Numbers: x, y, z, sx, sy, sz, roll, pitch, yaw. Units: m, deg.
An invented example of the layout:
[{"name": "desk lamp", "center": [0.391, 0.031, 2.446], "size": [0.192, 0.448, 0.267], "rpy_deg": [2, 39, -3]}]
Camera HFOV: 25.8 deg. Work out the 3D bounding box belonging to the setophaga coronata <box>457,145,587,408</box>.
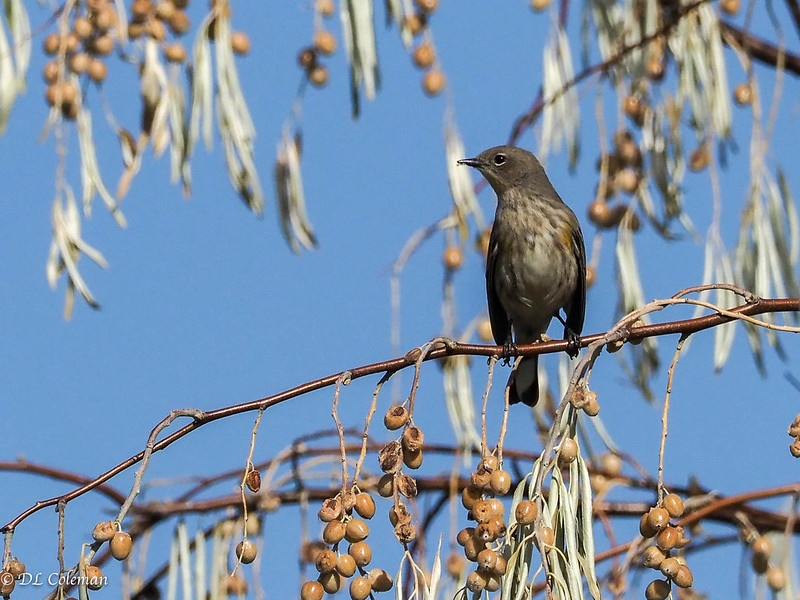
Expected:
[{"name": "setophaga coronata", "center": [0.740, -0.185, 10.342], "size": [0.475, 1.828, 0.842], "rpy_deg": [-5, -18, 17]}]
